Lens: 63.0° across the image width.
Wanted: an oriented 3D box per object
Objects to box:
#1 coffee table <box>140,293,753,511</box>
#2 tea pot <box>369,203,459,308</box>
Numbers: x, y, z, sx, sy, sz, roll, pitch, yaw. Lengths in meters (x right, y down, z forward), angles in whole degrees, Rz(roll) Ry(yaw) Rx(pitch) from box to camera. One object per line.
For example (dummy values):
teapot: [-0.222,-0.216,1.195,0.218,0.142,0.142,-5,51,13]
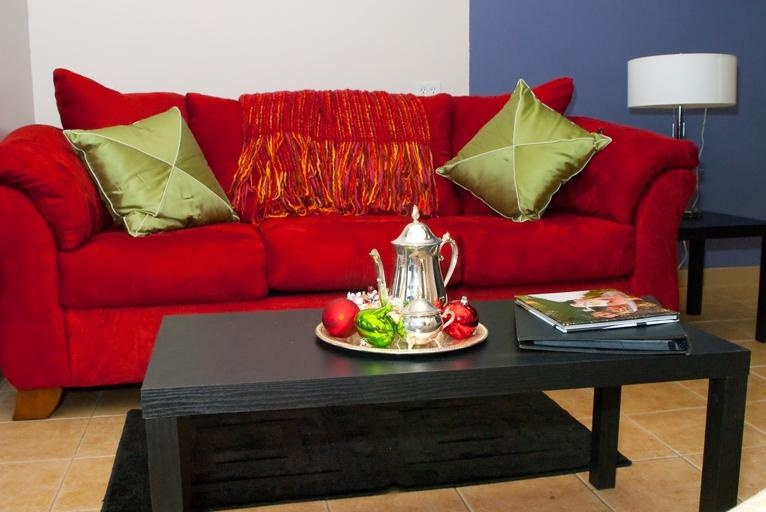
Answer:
coffee table: [0.132,0.413,1.681,1.429,0.454,0.612,-2,8,-12]
tea pot: [0.098,0.027,1.857,0.318,0.320,0.201,0,5,-9]
